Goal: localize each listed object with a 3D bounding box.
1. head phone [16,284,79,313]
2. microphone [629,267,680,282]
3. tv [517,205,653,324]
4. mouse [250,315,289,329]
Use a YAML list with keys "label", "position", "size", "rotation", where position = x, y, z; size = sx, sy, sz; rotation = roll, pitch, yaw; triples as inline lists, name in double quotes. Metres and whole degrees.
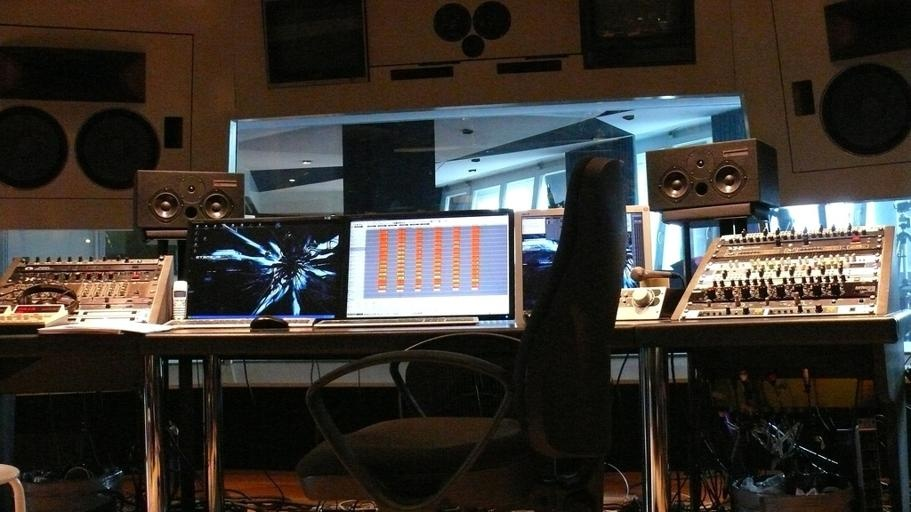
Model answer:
- label: "head phone"
  position: [-2.317, 0.222, 4.693]
  size: [0.217, 0.049, 0.216]
  rotation: [6, 18, -16]
- label: "microphone"
  position: [1.161, 0.103, 4.716]
  size: [0.306, 0.090, 0.095]
  rotation: [3, -14, -6]
- label: "tv"
  position: [0.680, 0.066, 4.227]
  size: [0.788, 0.658, 0.068]
  rotation: [0, -10, 4]
- label: "mouse"
  position: [-1.023, 0.360, 4.537]
  size: [0.168, 0.047, 0.085]
  rotation: [0, -3, -11]
